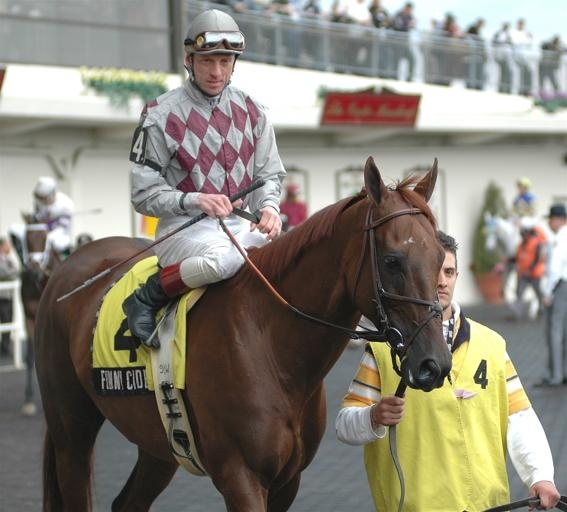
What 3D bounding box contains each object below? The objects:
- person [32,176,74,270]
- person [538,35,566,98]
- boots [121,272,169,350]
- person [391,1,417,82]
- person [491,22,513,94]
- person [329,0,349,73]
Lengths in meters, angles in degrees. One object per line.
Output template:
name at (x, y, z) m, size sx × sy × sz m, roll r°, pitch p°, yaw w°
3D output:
person at (-2.060, -0.292, 12.950) m, size 0.347 × 0.969 × 0.315 m, roll 8°, pitch 31°, yaw -12°
person at (2.138, -1.540, 11.754) m, size 0.211 × 0.441 × 1.064 m, roll 2°, pitch 9°, yaw 9°
boots at (-0.900, 0.353, 9.780) m, size 0.161 × 0.413 × 0.430 m, roll 43°, pitch -2°, yaw -32°
person at (1.412, -2.562, 17.602) m, size 0.289 × 0.924 × 0.298 m, roll 1°, pitch 9°, yaw 4°
person at (2.033, -1.784, 13.665) m, size 0.168 × 0.529 × 0.923 m, roll 3°, pitch -1°, yaw 10°
person at (0.701, -2.773, 18.539) m, size 0.236 × 0.901 × 0.493 m, roll 0°, pitch 9°, yaw 2°
